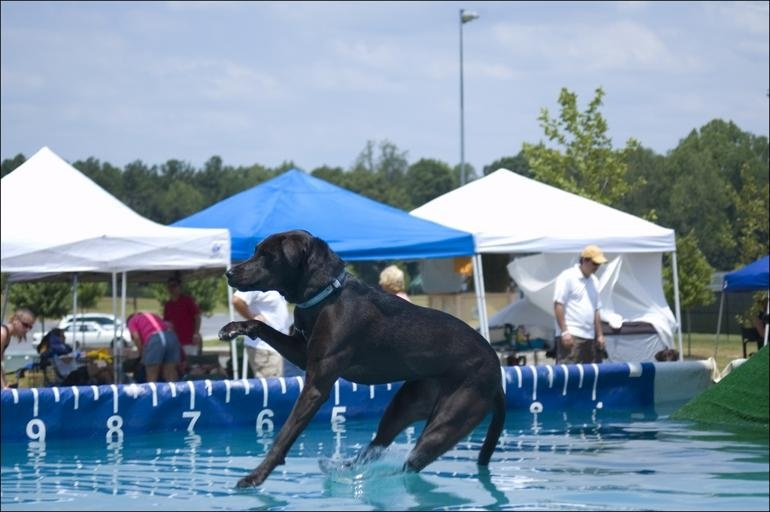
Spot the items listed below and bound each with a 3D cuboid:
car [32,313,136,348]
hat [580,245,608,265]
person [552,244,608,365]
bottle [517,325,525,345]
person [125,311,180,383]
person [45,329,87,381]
[{"bbox_3d":[-6.042,1.484,32.645,2.072,0.653,0.931,-5,1,13],"label":"car"},{"bbox_3d":[3.696,-0.057,28.413,0.451,0.260,0.320,17,6,34],"label":"hat"},{"bbox_3d":[3.481,0.817,28.445,0.925,2.132,0.765,-3,-6,7],"label":"person"},{"bbox_3d":[2.633,1.471,30.893,0.161,0.338,0.323,-3,-6,5],"label":"bottle"},{"bbox_3d":[-4.003,1.560,28.000,0.865,1.212,0.525,-2,-6,-5],"label":"person"},{"bbox_3d":[-5.681,1.749,28.591,0.615,1.073,1.205,1,-7,-27],"label":"person"}]
